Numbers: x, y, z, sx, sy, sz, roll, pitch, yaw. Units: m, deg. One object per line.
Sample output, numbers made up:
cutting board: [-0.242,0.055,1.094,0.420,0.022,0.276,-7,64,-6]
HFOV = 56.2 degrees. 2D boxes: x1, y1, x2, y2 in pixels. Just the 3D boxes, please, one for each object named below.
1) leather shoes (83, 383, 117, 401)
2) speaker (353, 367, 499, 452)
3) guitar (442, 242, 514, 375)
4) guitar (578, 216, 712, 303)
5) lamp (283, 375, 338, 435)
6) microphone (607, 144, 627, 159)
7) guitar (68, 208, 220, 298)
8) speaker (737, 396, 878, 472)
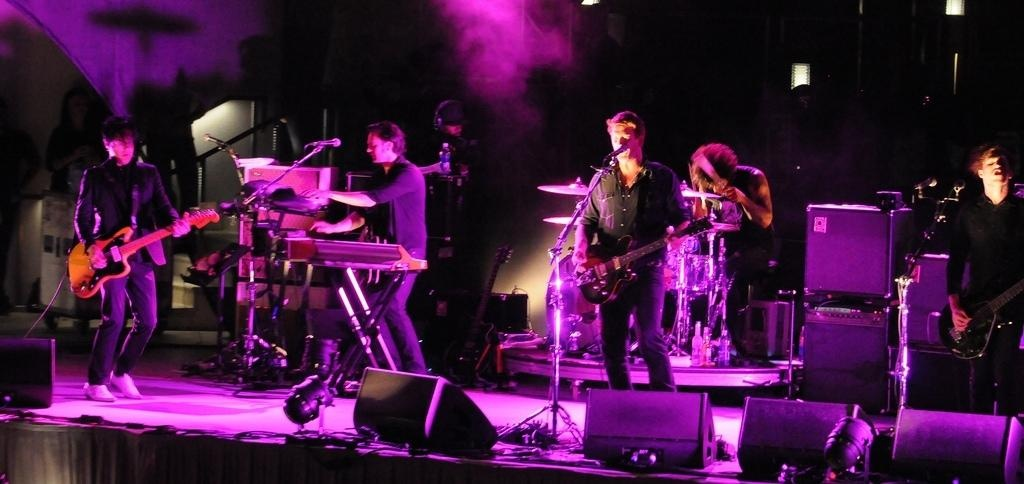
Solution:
leather shoes: [-5.176,1.888,11.977,0.427,0.122,0.183,2,2,19]
speaker: [-0.965,1.927,10.947,1.503,0.781,1.115,3,5,32]
guitar: [-0.450,0.989,13.242,0.725,1.924,0.235,22,-7,46]
guitar: [1.523,0.194,11.382,1.438,0.464,0.210,-22,-23,6]
lamp: [-2.343,1.928,11.173,0.532,0.465,0.679,-9,3,20]
microphone: [1.206,-1.034,11.078,0.200,0.189,0.193,6,-4,-7]
guitar: [-4.935,0.154,12.646,1.729,0.503,0.215,-22,1,-25]
speaker: [3.011,2.105,10.498,1.384,0.674,0.929,1,1,7]
